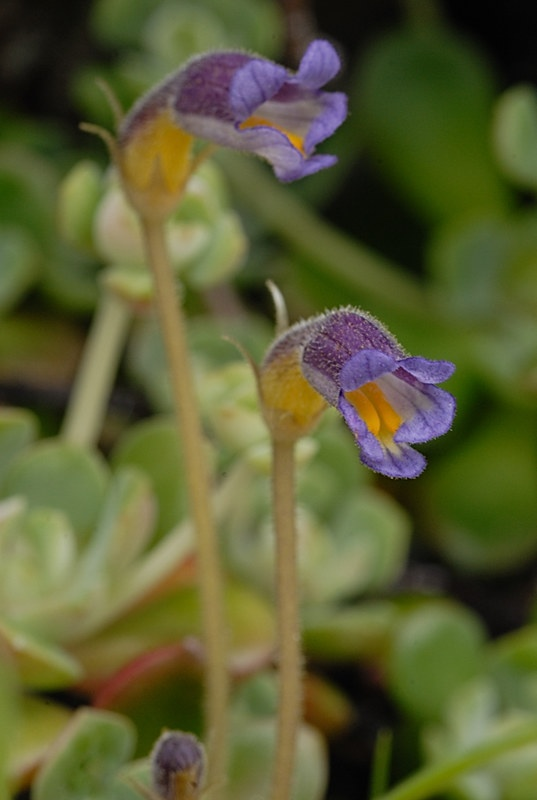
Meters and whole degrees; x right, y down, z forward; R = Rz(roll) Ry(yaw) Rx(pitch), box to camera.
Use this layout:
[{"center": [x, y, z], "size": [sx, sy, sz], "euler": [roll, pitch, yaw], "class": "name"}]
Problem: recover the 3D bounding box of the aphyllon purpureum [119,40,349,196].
[{"center": [-0.023, -0.131, 0.424], "size": [0.117, 0.076, 0.061], "euler": [15, 49, 14], "class": "aphyllon purpureum"}]
